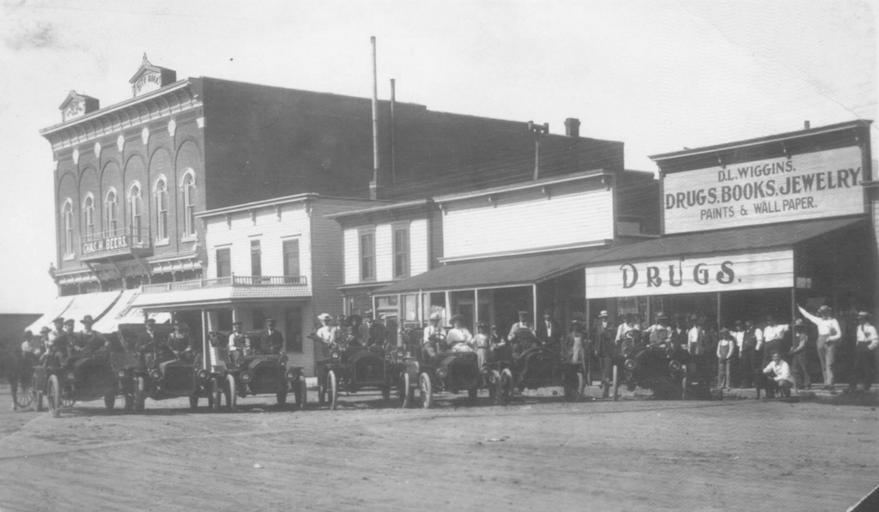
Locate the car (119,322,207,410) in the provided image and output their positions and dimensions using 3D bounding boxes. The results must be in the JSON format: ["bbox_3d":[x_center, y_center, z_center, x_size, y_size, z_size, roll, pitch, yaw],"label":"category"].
[{"bbox_3d":[-8.787,3.601,41.868,2.242,3.074,4.210,1,-2,-3],"label":"car"}]
